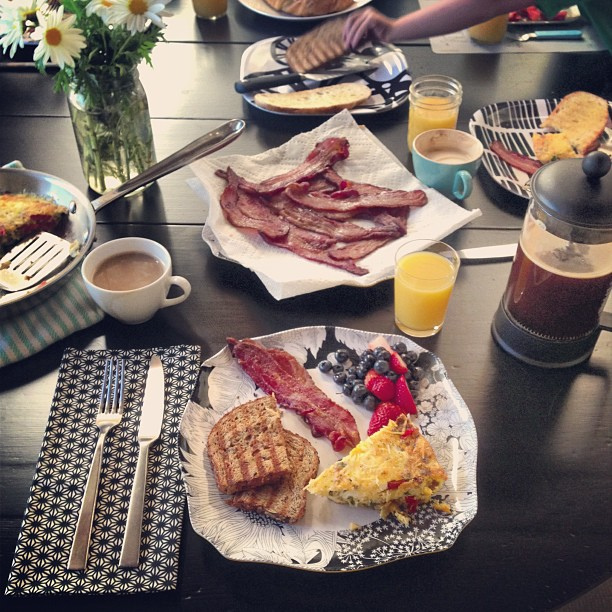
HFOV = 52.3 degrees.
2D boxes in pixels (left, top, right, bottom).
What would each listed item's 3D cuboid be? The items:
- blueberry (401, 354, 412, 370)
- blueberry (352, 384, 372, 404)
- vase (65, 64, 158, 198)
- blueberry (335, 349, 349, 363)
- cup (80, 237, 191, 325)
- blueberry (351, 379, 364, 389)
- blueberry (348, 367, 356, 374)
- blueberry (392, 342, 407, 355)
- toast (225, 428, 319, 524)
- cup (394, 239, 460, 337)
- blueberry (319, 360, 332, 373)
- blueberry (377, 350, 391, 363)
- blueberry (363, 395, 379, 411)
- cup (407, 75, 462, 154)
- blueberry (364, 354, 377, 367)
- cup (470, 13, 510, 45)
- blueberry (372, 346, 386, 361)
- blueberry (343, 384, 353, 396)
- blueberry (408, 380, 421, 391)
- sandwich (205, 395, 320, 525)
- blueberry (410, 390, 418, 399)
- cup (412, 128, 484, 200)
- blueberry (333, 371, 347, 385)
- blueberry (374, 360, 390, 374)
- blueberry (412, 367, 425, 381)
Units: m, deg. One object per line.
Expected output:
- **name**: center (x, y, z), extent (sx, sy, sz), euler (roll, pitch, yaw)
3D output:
- **blueberry**: center (0.221, 0.122, 1.351), extent (0.031, 0.016, 0.023), euler (36, 20, 8)
- **blueberry**: center (0.115, 0.187, 1.324), extent (0.047, 0.015, 0.036), euler (4, 87, -3)
- **vase**: center (-0.583, -0.503, 1.728), extent (0.250, 0.370, 0.249), euler (31, 46, 24)
- **blueberry**: center (0.081, 0.110, 1.391), extent (0.029, 0.020, 0.033), euler (0, 42, 5)
- **cup**: center (-0.415, -0.053, 1.487), extent (0.204, 0.170, 0.195), euler (-2, 43, 2)
- **blueberry**: center (0.110, 0.167, 1.329), extent (0.021, 0.011, 0.023), euler (1, 11, 8)
- **blueberry**: center (0.100, 0.142, 1.356), extent (0.015, 0.012, 0.015), euler (-3, 43, 1)
- **blueberry**: center (0.208, 0.093, 1.367), extent (0.027, 0.020, 0.023), euler (-3, 4, 3)
- **toast**: center (-0.041, 0.321, 1.180), extent (0.140, 0.039, 0.144), euler (6, 46, 8)
- **cup**: center (0.285, -0.036, 1.480), extent (0.211, 0.206, 0.186), euler (-3, 48, 3)
- **blueberry**: center (0.044, 0.134, 1.377), extent (0.029, 0.013, 0.023), euler (1, 48, 1)
- **blueberry**: center (0.168, 0.107, 1.330), extent (0.025, 0.020, 0.022), euler (-1, 2, 4)
- **blueberry**: center (0.137, 0.205, 1.313), extent (0.034, 0.030, 0.030), euler (1, 86, 6)
- **cup**: center (0.410, -0.592, 2.027), extent (0.191, 0.271, 0.160), euler (11, 48, 13)
- **blueberry**: center (0.137, 0.117, 1.337), extent (0.023, 0.018, 0.024), euler (-1, 31, 5)
- **cup**: center (0.733, -1.117, 2.501), extent (0.138, 0.114, 0.099), euler (5, 45, 9)
- **blueberry**: center (0.162, 0.104, 1.345), extent (0.029, 0.026, 0.026), euler (1, 4, 9)
- **blueberry**: center (0.090, 0.180, 1.344), extent (0.024, 0.014, 0.021), euler (0, 81, 21)
- **blueberry**: center (0.240, 0.171, 1.329), extent (0.022, 0.006, 0.020), euler (-1, 49, 1)
- **sandwich**: center (-0.087, 0.299, 1.201), extent (0.205, 0.061, 0.191), euler (38, 55, 18)
- **blueberry**: center (0.229, 0.188, 1.317), extent (0.018, 0.008, 0.014), euler (-1, 73, 1)
- **cup**: center (0.409, -0.403, 1.823), extent (0.197, 0.168, 0.219), euler (4, 43, 9)
- **blueberry**: center (0.076, 0.158, 1.363), extent (0.027, 0.012, 0.021), euler (-2, 54, 2)
- **blueberry**: center (0.161, 0.129, 1.314), extent (0.034, 0.033, 0.027), euler (-5, 55, 9)
- **blueberry**: center (0.242, 0.147, 1.342), extent (0.026, 0.010, 0.023), euler (0, 70, 5)
